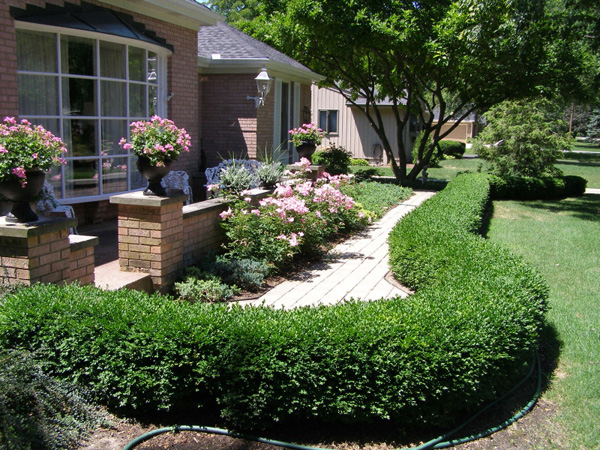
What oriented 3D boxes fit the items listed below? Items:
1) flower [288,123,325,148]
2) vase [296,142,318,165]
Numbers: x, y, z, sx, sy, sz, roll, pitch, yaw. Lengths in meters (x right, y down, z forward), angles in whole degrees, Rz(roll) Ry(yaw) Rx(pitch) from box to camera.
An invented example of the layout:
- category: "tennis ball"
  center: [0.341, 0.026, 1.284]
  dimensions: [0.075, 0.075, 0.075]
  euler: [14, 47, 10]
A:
- category: "flower"
  center: [0.164, -2.183, 11.577]
  dimensions: [1.104, 0.638, 0.991]
  euler: [0, 16, -1]
- category: "vase"
  center: [0.272, -1.820, 11.487]
  dimensions: [0.862, 0.543, 0.784]
  euler: [-1, 4, -5]
